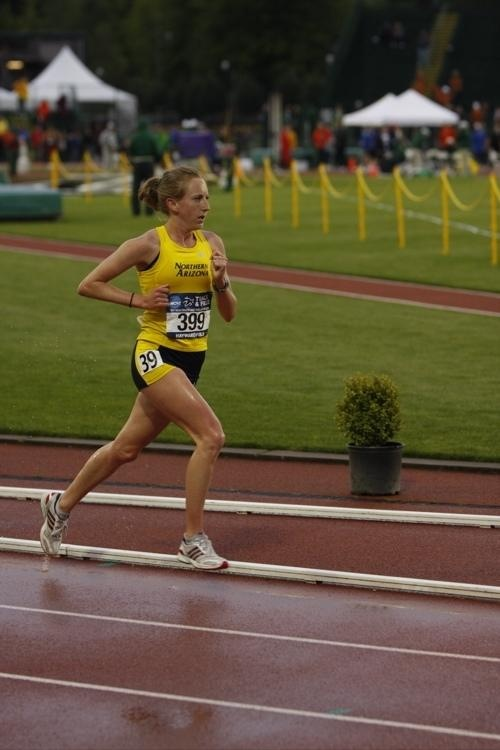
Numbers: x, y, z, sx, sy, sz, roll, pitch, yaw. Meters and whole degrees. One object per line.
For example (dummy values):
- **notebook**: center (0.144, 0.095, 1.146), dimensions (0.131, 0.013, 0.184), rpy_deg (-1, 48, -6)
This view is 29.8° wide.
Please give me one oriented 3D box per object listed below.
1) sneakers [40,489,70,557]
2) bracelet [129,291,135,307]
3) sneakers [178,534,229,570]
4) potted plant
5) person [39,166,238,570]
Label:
- **sneakers**: center (-0.968, 0.776, 4.869), dimensions (0.135, 0.354, 0.167), rpy_deg (-1, -3, -43)
- **bracelet**: center (-0.531, -0.338, 4.237), dimensions (0.016, 0.050, 0.056), rpy_deg (6, 6, -11)
- **sneakers**: center (-0.242, 0.876, 4.697), dimensions (0.300, 0.151, 0.131), rpy_deg (9, 8, 24)
- **potted plant**: center (0.850, 0.443, 6.702), dimensions (0.458, 0.884, 0.425), rpy_deg (1, 4, 6)
- **person**: center (-0.491, -0.010, 4.623), dimensions (0.763, 1.987, 0.696), rpy_deg (-3, 5, -38)
